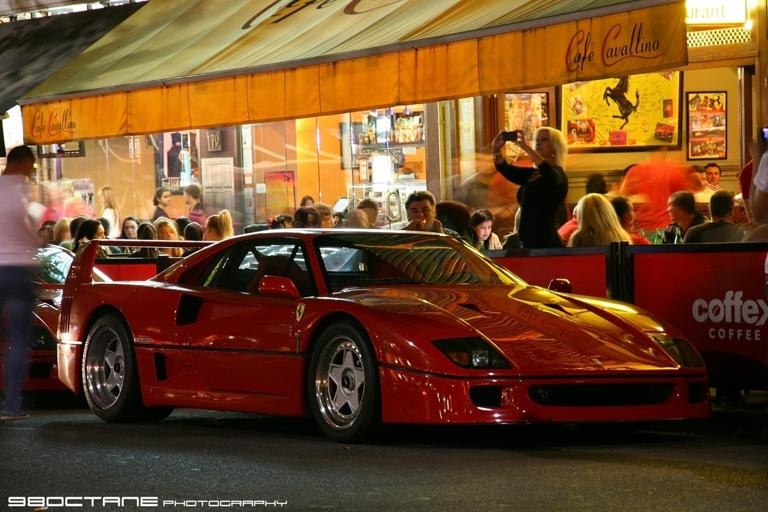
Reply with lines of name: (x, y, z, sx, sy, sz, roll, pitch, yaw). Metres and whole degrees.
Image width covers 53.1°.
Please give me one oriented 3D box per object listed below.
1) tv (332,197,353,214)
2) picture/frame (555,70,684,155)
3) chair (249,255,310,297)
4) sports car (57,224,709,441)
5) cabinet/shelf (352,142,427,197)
tv: (-0.848, -1.005, 15.370, 0.352, 0.372, 0.321, 1, -4, -15)
picture/frame: (4.509, -2.807, 14.745, 2.307, 1.494, 0.180, 0, 2, 3)
chair: (-1.056, 0.127, 7.142, 0.552, 0.278, 0.756, -6, -4, -6)
sports car: (-0.243, 0.618, 6.631, 5.489, 1.769, 1.628, -2, -4, 28)
cabinet/shelf: (0.078, -1.675, 15.646, 1.709, 1.635, 0.937, 1, 0, 7)
